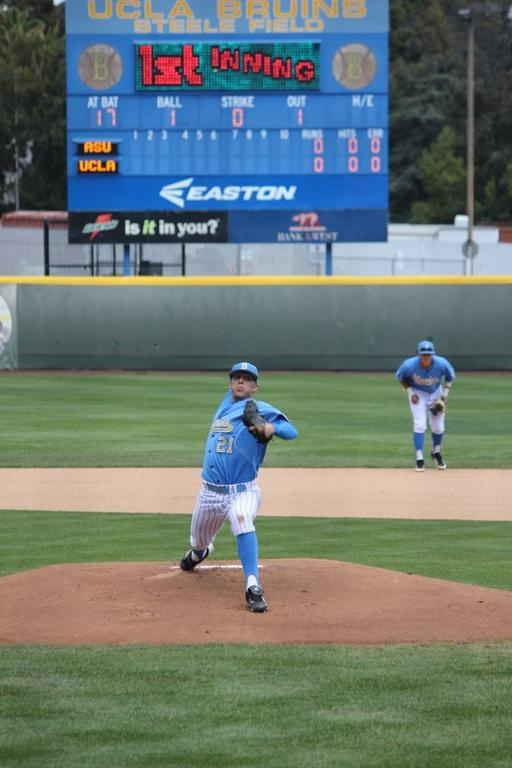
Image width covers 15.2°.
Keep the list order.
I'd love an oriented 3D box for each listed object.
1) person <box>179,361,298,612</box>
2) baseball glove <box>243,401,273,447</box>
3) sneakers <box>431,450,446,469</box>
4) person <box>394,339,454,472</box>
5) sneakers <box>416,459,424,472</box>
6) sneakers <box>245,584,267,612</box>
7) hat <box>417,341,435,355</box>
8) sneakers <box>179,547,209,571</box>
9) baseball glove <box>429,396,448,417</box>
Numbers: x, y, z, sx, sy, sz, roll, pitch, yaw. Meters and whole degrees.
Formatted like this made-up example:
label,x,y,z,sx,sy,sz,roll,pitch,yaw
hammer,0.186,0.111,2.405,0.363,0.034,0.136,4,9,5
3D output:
label,x,y,z,sx,sy,sz,roll,pitch,yaw
person,-0.171,0.957,18.531,0.692,2.221,1.173,-13,16,-39
baseball glove,0.004,0.386,18.201,0.216,0.414,0.101,-27,-7,40
sneakers,2.293,0.969,24.062,0.097,0.142,0.297,1,21,-5
person,2.131,0.258,24.111,0.669,1.765,1.283,-1,13,6
sneakers,2.019,1.022,23.699,0.101,0.163,0.337,2,4,5
sneakers,-0.008,2.049,18.220,0.206,0.240,0.225,-1,13,6
hat,2.101,-0.486,23.666,0.211,0.216,0.339,1,-9,3
sneakers,-0.615,1.767,18.975,0.135,0.199,0.401,5,-9,-24
baseball glove,2.281,0.278,23.865,0.180,0.172,0.200,-27,25,48
